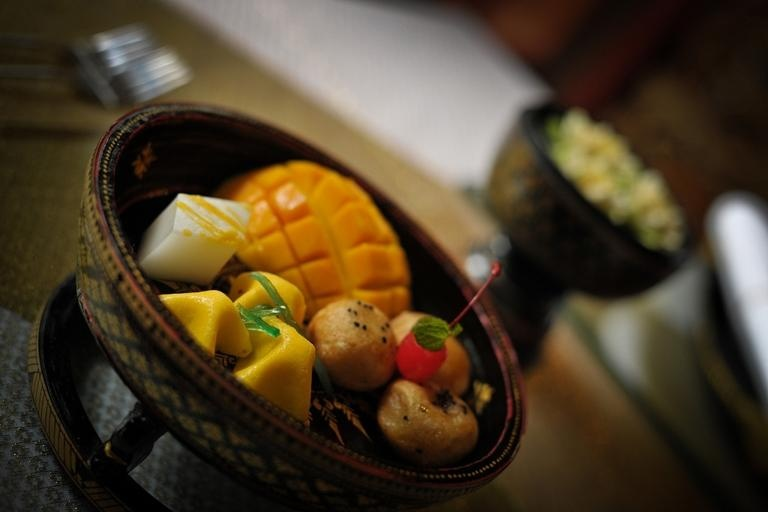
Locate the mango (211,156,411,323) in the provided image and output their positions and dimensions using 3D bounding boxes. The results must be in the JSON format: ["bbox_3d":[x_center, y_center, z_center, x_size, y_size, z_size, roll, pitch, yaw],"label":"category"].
[{"bbox_3d":[-0.112,-0.035,1.015,0.283,0.213,0.257,-7,23,-13],"label":"mango"}]
